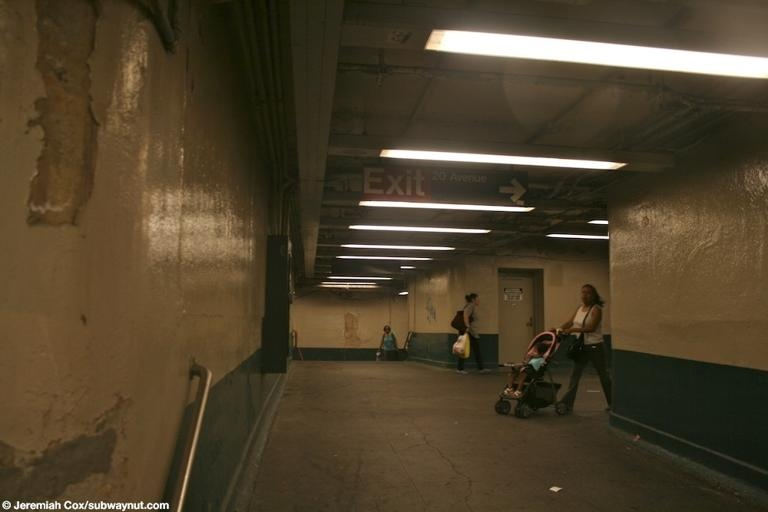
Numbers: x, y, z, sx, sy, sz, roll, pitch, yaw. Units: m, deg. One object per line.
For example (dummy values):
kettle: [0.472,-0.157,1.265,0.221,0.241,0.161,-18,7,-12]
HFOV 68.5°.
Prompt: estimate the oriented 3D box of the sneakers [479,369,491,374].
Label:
sneakers: [2.385,2.746,13.307,0.318,0.148,0.123,-2,2,2]

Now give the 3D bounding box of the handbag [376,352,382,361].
handbag: [-0.205,4.356,24.197,0.312,0.590,0.311,0,-8,0]

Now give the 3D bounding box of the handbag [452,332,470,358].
handbag: [1.779,2.073,12.881,0.316,0.601,0.595,0,-4,12]

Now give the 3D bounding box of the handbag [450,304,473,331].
handbag: [1.794,1.465,12.946,0.499,0.639,0.305,0,-3,10]

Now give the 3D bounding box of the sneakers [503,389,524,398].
sneakers: [1.708,1.834,7.429,0.180,0.115,0.062,15,-19,-42]

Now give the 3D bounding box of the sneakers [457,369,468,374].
sneakers: [1.867,2.791,13.493,0.097,0.114,0.275,7,-15,-22]

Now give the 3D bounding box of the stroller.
stroller: [2.012,1.705,8.184,1.331,1.784,0.941,3,-8,-15]
